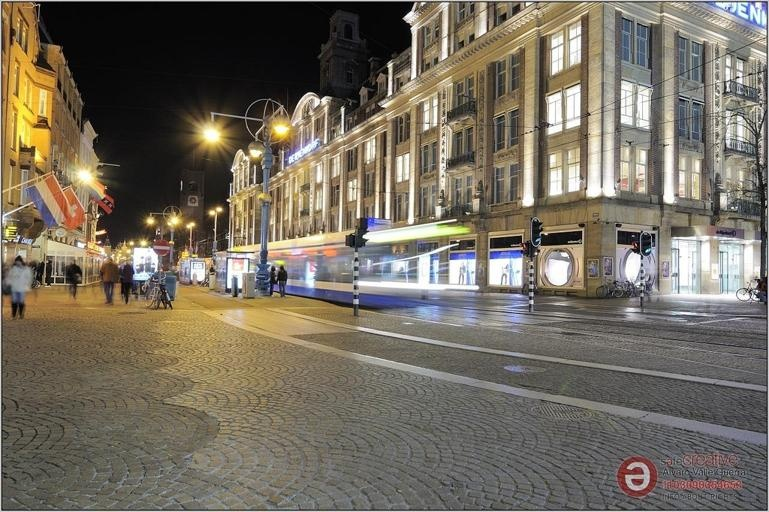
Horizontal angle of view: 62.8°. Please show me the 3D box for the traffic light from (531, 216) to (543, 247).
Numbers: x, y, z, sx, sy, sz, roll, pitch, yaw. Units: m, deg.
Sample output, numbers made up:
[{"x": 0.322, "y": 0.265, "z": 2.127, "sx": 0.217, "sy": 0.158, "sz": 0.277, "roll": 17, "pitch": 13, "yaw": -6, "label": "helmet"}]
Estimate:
[{"x": 5.579, "y": -0.883, "z": 23.113, "sx": 0.389, "sy": 1.126, "sz": 1.080, "roll": 2, "pitch": 7, "yaw": 11, "label": "traffic light"}]

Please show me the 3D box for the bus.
[{"x": -3.405, "y": 0.702, "z": 34.051, "sx": 3.577, "sy": 3.882, "sz": 16.698, "roll": 1, "pitch": -2, "yaw": -34, "label": "bus"}]

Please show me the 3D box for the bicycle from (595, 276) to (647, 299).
[{"x": 12.736, "y": 1.724, "z": 33.714, "sx": 2.856, "sy": 0.966, "sz": 0.826, "roll": -3, "pitch": 8, "yaw": -29, "label": "bicycle"}]

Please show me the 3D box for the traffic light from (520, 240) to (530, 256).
[{"x": 5.351, "y": -0.282, "z": 23.564, "sx": 0.274, "sy": 0.560, "sz": 1.301, "roll": 2, "pitch": 7, "yaw": 9, "label": "traffic light"}]

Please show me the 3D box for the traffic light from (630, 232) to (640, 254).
[{"x": 11.514, "y": -0.589, "z": 28.792, "sx": 0.366, "sy": 1.158, "sz": 0.845, "roll": 1, "pitch": -2, "yaw": 18, "label": "traffic light"}]

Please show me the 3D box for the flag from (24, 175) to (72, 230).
[{"x": -16.626, "y": -2.574, "z": 30.783, "sx": 0.352, "sy": 2.870, "sz": 3.208, "roll": -17, "pitch": 9, "yaw": -4, "label": "flag"}]

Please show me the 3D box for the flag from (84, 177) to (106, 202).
[{"x": -16.325, "y": -3.713, "z": 35.623, "sx": 0.848, "sy": 1.390, "sz": 7.101, "roll": -2, "pitch": 8, "yaw": -23, "label": "flag"}]
